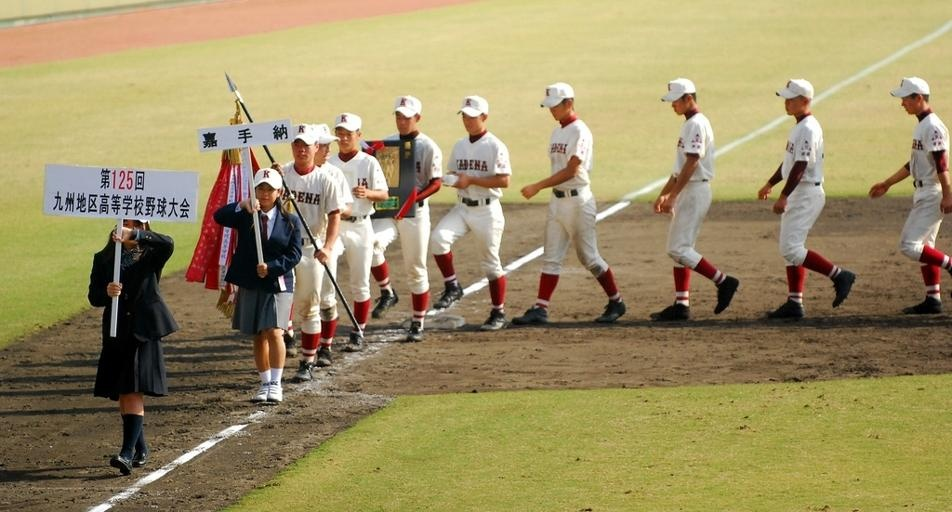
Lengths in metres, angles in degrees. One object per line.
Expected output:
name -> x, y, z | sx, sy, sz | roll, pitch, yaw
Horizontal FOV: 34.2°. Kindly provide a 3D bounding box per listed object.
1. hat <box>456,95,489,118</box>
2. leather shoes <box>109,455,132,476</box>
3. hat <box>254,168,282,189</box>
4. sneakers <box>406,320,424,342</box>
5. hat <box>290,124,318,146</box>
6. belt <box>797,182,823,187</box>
hat -> 0.015, -2.877, 30.337 | 0.625, 0.348, 0.812 | 3, 2, 28
leather shoes -> -6.068, 3.564, 26.614 | 0.279, 0.429, 0.180 | -33, 26, 13
hat -> -3.789, -1.366, 28.061 | 0.534, 0.386, 0.430 | -1, 12, 15
sneakers -> -1.186, 1.439, 29.769 | 0.348, 0.374, 0.207 | -5, 12, -2
hat -> -3.195, -2.218, 28.622 | 0.305, 0.374, 0.660 | 6, 14, 42
belt -> 6.536, -1.374, 29.992 | 0.344, 0.094, 0.060 | -5, 12, -11
